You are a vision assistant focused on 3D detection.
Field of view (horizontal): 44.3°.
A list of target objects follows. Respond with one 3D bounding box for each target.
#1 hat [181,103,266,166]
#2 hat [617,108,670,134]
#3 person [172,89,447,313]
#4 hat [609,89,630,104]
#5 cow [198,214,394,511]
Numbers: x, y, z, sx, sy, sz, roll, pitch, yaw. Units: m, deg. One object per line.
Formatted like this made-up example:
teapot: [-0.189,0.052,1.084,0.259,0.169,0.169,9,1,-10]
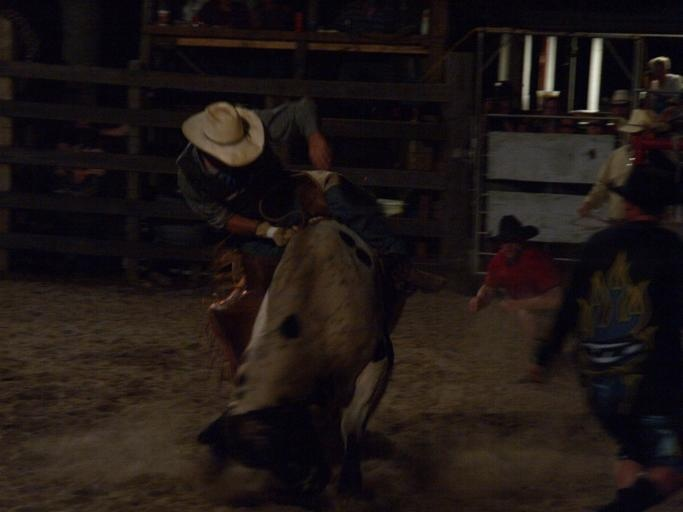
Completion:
hat: [-0.531,-0.609,3.885,0.369,0.347,0.142,6,38,26]
hat: [1.499,-0.669,4.203,0.194,0.065,0.128,0,7,-9]
person: [-0.386,-0.215,4.305,0.907,0.809,1.491,-12,-30,21]
hat: [1.438,-0.823,4.353,0.099,0.042,0.071,4,-2,-37]
cow: [-0.097,0.558,4.263,0.739,1.464,0.865,15,-4,13]
